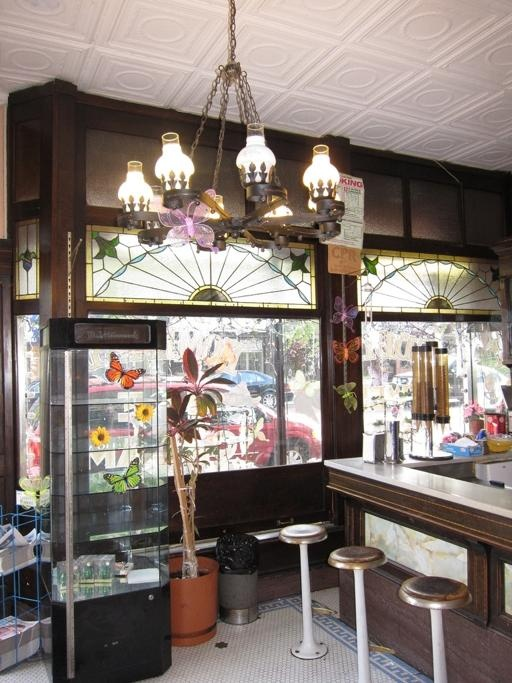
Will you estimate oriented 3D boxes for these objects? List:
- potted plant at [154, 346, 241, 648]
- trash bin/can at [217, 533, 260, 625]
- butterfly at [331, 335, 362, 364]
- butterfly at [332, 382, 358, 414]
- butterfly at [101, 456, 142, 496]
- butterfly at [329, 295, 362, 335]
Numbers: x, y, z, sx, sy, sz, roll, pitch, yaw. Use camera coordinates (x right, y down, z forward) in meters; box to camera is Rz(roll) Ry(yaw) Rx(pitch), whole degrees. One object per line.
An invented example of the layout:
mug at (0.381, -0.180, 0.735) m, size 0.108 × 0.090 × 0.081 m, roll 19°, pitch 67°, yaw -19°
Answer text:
potted plant at (-0.296, 0.826, 3.307) m, size 0.388 × 1.558 × 0.395 m, roll 4°, pitch -1°, yaw -32°
trash bin/can at (-0.128, 1.392, 3.401) m, size 0.247 × 0.452 × 0.254 m, roll 5°, pitch -1°, yaw -20°
butterfly at (0.647, 0.070, 4.140) m, size 0.265 × 0.186 × 0.079 m, roll 2°, pitch -5°, yaw -44°
butterfly at (0.621, 0.405, 4.106) m, size 0.201 × 0.196 × 0.067 m, roll -2°, pitch 1°, yaw -31°
butterfly at (-0.645, 0.642, 2.762) m, size 0.179 × 0.128 × 0.043 m, roll -21°, pitch 4°, yaw -38°
butterfly at (0.633, -0.191, 4.134) m, size 0.231 × 0.248 × 0.090 m, roll 2°, pitch -5°, yaw -40°
